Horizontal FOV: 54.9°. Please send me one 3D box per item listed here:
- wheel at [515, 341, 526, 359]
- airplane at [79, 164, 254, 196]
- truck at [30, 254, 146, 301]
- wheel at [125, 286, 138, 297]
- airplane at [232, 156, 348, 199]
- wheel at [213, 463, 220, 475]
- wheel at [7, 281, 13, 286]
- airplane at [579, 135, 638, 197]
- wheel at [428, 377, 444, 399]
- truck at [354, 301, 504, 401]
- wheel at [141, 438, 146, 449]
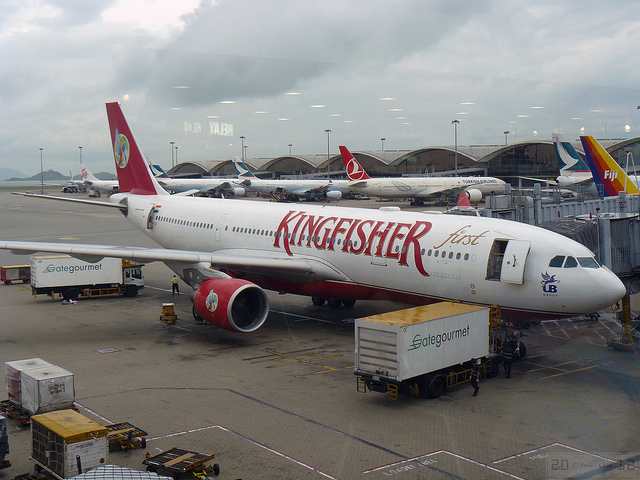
[{"bbox_3d":[8.127,4.424,24.765,0.245,0.749,0.548,8,13,35],"label":"wheel"},{"bbox_3d":[-22.948,-9.722,100.469,28.565,5.718,23.142,-1,7,-5],"label":"airplane"},{"bbox_3d":[-12.831,2.192,36.443,7.778,2.319,1.957,-4,-3,20],"label":"truck"},{"bbox_3d":[-11.349,3.087,36.868,1.009,0.699,0.323,0,1,-31],"label":"wheel"},{"bbox_3d":[-5.315,-12.978,126.378,19.810,4.064,16.205,1,9,2],"label":"airplane"},{"bbox_3d":[-2.793,6.221,16.625,0.150,0.268,0.332,-2,4,-10],"label":"wheel"},{"bbox_3d":[-20.704,2.897,41.078,0.260,0.249,0.095,1,23,-17],"label":"wheel"},{"bbox_3d":[23.077,-5.803,49.526,4.603,4.911,4.371,-13,16,-28],"label":"airplane"},{"bbox_3d":[4.040,5.100,21.239,0.203,0.731,0.805,8,13,35],"label":"wheel"},{"bbox_3d":[4.040,3.836,22.788,6.734,2.894,3.228,-7,12,-38],"label":"truck"},{"bbox_3d":[-5.150,5.944,17.974,0.123,0.270,0.259,-3,10,-11],"label":"wheel"}]
